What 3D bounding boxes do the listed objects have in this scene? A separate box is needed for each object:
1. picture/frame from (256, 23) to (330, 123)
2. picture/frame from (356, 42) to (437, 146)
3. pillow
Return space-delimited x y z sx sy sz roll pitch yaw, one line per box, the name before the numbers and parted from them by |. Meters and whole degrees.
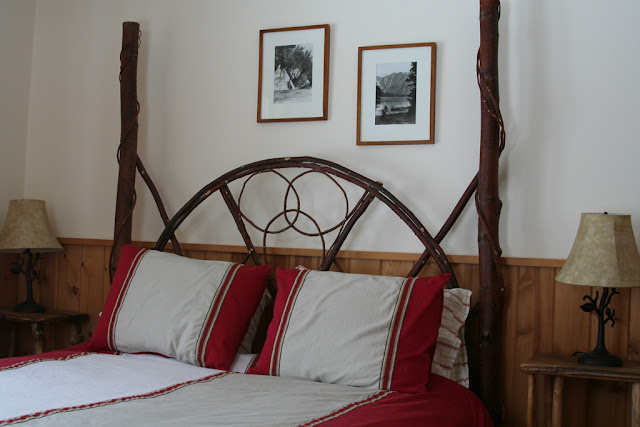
picture/frame | -0.149 -0.860 3.237 0.571 0.757 0.050 -1 -7 18
picture/frame | 0.469 -0.696 3.080 0.574 0.763 0.030 0 -1 19
pillow | -0.212 0.559 2.776 1.930 0.659 0.563 2 8 17
